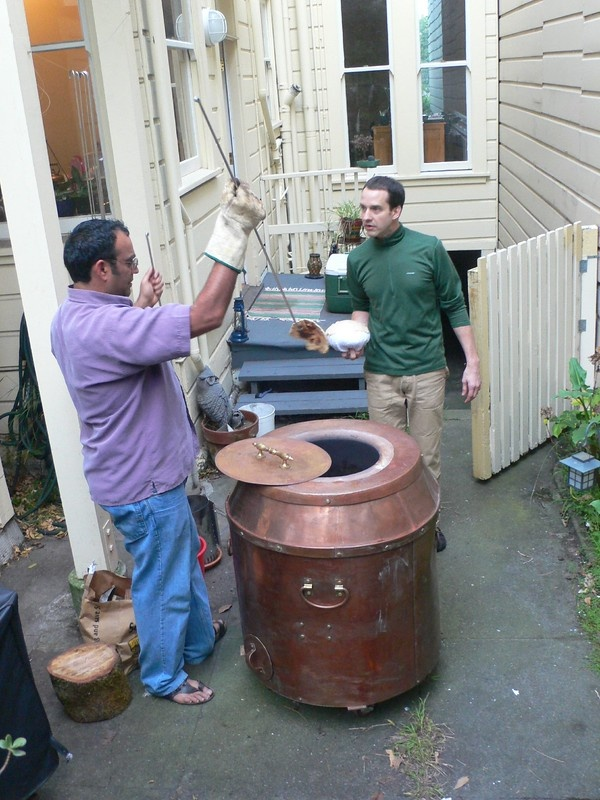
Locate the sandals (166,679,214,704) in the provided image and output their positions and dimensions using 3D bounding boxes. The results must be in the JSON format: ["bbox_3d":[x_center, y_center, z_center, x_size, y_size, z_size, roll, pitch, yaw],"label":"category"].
[{"bbox_3d":[-0.462,1.204,2.480,0.157,0.068,0.088,1,17,19],"label":"sandals"}]

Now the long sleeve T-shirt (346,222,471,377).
[{"bbox_3d":[0.592,-0.541,3.315,0.657,0.808,0.292,-1,13,16],"label":"long sleeve T-shirt"}]

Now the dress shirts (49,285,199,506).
[{"bbox_3d":[-0.647,-0.001,2.132,0.427,0.697,0.733,-12,22,-26],"label":"dress shirts"}]

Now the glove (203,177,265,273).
[{"bbox_3d":[-0.207,-0.569,1.918,0.165,0.290,0.164,8,13,-14],"label":"glove"}]
